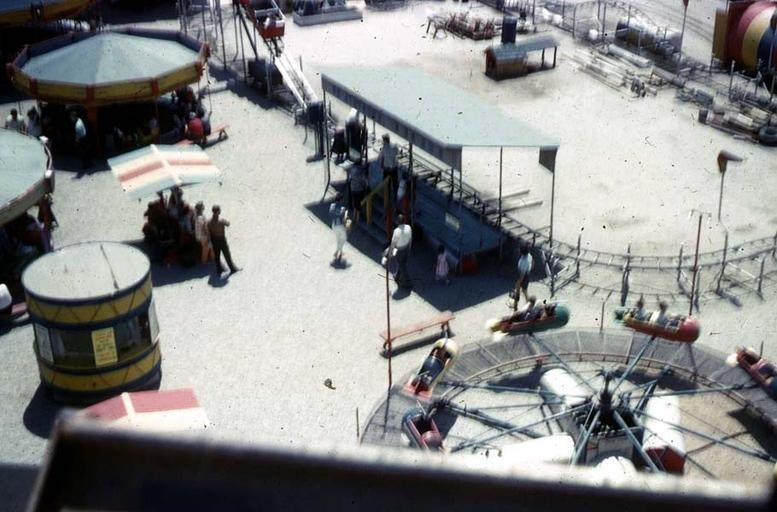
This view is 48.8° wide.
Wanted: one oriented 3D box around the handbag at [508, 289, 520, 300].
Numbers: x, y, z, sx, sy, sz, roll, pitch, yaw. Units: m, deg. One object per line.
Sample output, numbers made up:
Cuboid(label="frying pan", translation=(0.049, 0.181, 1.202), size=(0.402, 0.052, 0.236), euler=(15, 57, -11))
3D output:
Cuboid(label="handbag", translation=(3.903, 1.199, 26.718), size=(0.222, 0.324, 0.129), euler=(-5, 52, 4))

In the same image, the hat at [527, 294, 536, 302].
Cuboid(label="hat", translation=(4.265, 1.266, 25.594), size=(0.151, 0.200, 0.469), euler=(2, 8, 12))

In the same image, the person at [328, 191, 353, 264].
Cuboid(label="person", translation=(-1.634, -0.969, 28.545), size=(0.713, 2.126, 0.971), euler=(-8, 32, -4))

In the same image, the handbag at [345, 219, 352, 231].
Cuboid(label="handbag", translation=(-1.342, -1.060, 28.600), size=(0.257, 0.435, 0.128), euler=(-1, -4, 1))

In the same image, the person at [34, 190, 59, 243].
Cuboid(label="person", translation=(-11.594, -1.294, 28.976), size=(1.040, 0.932, 1.414), euler=(-25, 8, -17))

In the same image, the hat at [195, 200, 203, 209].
Cuboid(label="hat", translation=(-6.394, -1.741, 28.865), size=(0.211, 0.278, 0.332), euler=(11, 59, 2))

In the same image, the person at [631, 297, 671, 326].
Cuboid(label="person", translation=(7.410, 1.696, 24.286), size=(0.942, 0.399, 0.761), euler=(9, 39, 17))

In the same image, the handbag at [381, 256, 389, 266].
Cuboid(label="handbag", translation=(-0.144, 0.179, 27.815), size=(0.200, 0.311, 0.120), euler=(4, 58, -8))
